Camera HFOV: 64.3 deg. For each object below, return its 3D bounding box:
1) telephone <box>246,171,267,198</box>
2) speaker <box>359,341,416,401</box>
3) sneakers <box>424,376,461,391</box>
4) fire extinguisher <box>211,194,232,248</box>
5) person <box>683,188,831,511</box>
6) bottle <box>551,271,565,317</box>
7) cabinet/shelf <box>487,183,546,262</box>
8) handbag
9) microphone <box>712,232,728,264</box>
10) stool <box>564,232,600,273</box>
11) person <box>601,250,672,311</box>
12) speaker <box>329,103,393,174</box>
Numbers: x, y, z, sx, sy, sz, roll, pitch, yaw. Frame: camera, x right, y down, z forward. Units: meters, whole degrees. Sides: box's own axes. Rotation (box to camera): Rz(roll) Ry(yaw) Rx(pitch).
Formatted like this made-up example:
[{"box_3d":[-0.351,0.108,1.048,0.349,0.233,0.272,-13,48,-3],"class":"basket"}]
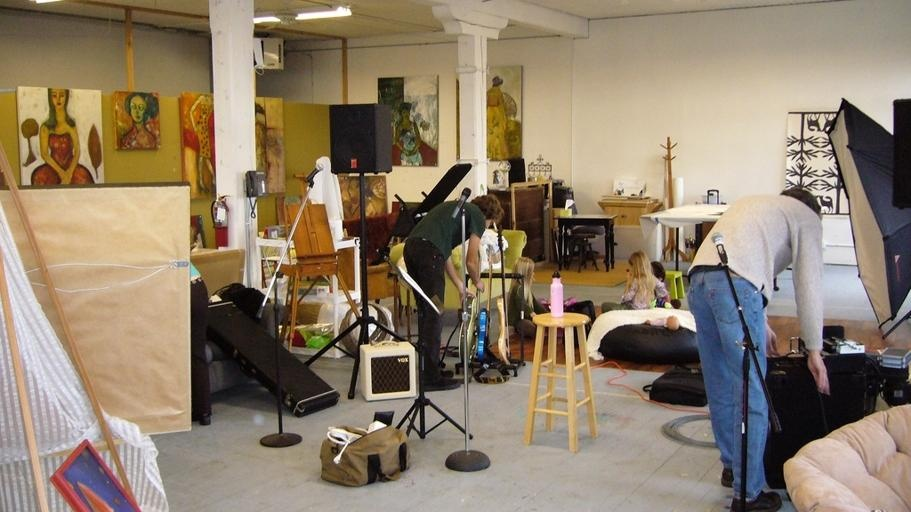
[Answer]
[{"box_3d":[-2.500,-0.917,9.160,0.265,0.347,0.191,-7,11,-21],"class":"telephone"},{"box_3d":[-0.700,1.226,7.648,0.621,0.647,0.353,-1,5,-10],"class":"speaker"},{"box_3d":[-0.127,1.360,7.895,0.417,0.160,0.151,-2,3,-11],"class":"sneakers"},{"box_3d":[-2.960,-0.434,9.158,0.240,0.638,0.177,-1,11,12],"class":"fire extinguisher"},{"box_3d":[2.503,0.737,5.976,1.004,2.526,0.753,-7,11,-17],"class":"person"},{"box_3d":[0.948,0.374,6.726,0.095,0.324,0.313,-1,11,12],"class":"bottle"},{"box_3d":[1.025,-0.595,12.174,0.564,1.466,1.622,0,3,25],"class":"cabinet/shelf"},{"box_3d":[-0.792,1.719,6.360,0.631,0.355,0.485,2,-2,5],"class":"handbag"},{"box_3d":[2.079,-0.082,5.721,0.091,0.090,0.294,23,40,-20],"class":"microphone"},{"box_3d":[2.582,-0.095,14.214,0.744,0.770,0.729,-1,-1,-5],"class":"stool"},{"box_3d":[2.329,0.288,9.189,0.705,0.793,0.838,5,13,37],"class":"person"},{"box_3d":[-1.021,-1.279,7.896,0.740,0.992,0.549,2,8,13],"class":"speaker"}]
